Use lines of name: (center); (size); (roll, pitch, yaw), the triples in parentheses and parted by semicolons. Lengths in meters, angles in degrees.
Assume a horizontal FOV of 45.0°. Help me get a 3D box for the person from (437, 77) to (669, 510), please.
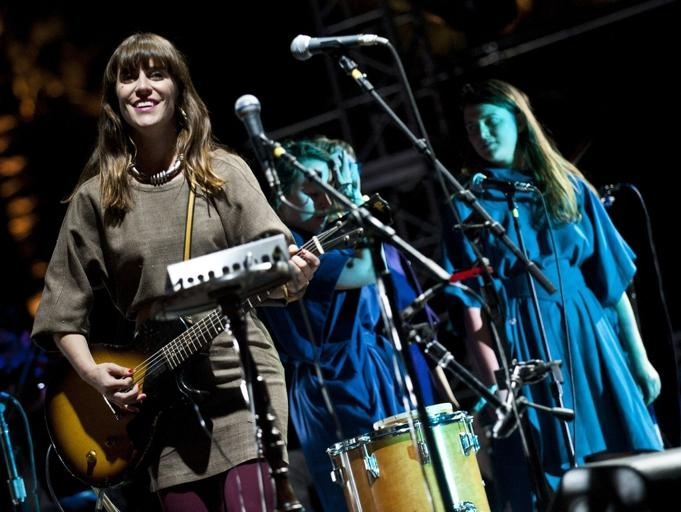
person: (1.274, 0.081, 5.144); (1.137, 2.817, 0.524); (-13, -11, 9)

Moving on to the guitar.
guitar: (-0.870, 0.479, 4.680); (0.205, 0.824, 2.126); (9, 25, 29)
